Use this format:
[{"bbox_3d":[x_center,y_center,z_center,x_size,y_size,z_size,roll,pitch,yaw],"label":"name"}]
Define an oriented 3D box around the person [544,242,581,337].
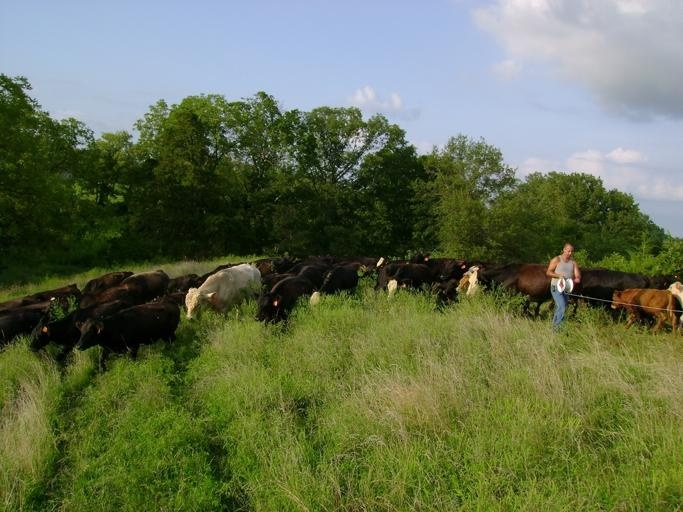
[{"bbox_3d":[5.073,0.689,12.563,0.660,1.898,0.884,9,4,26],"label":"person"}]
